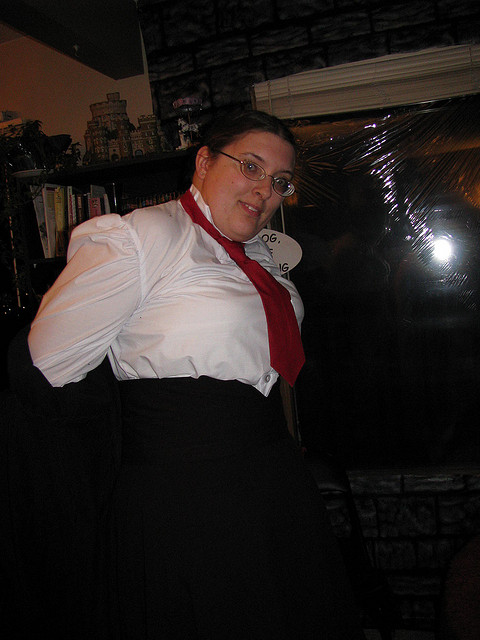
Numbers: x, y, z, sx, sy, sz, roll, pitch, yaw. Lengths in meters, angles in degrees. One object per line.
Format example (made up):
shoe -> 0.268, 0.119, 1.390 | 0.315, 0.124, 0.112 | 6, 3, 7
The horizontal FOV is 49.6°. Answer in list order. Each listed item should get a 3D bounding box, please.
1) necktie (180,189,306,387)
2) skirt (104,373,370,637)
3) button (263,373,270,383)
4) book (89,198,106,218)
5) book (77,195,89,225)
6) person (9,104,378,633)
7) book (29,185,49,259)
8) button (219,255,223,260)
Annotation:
necktie -> 0.020, -0.079, 1.105 | 0.236, 0.411, 0.215 | 3, 13, 39
skirt -> -0.039, 0.368, 1.010 | 0.491, 0.567, 0.210 | -8, 10, -15
button -> 0.053, 0.113, 1.019 | 0.013, 0.015, 0.005 | 1, -2, -7
book -> -0.562, -0.451, 2.070 | 0.063, 0.070, 0.045 | -7, 10, -12
book -> -0.629, -0.449, 2.091 | 0.053, 0.107, 0.028 | -6, 10, -3
person -> -0.028, 0.082, 1.908 | 1.006, 1.974, 0.958 | 1, 4, 20
book -> -0.789, -0.382, 2.091 | 0.038, 0.258, 0.036 | -9, 11, -19
button -> -0.036, -0.126, 1.033 | 0.002, 0.008, 0.006 | 4, 1, 35
